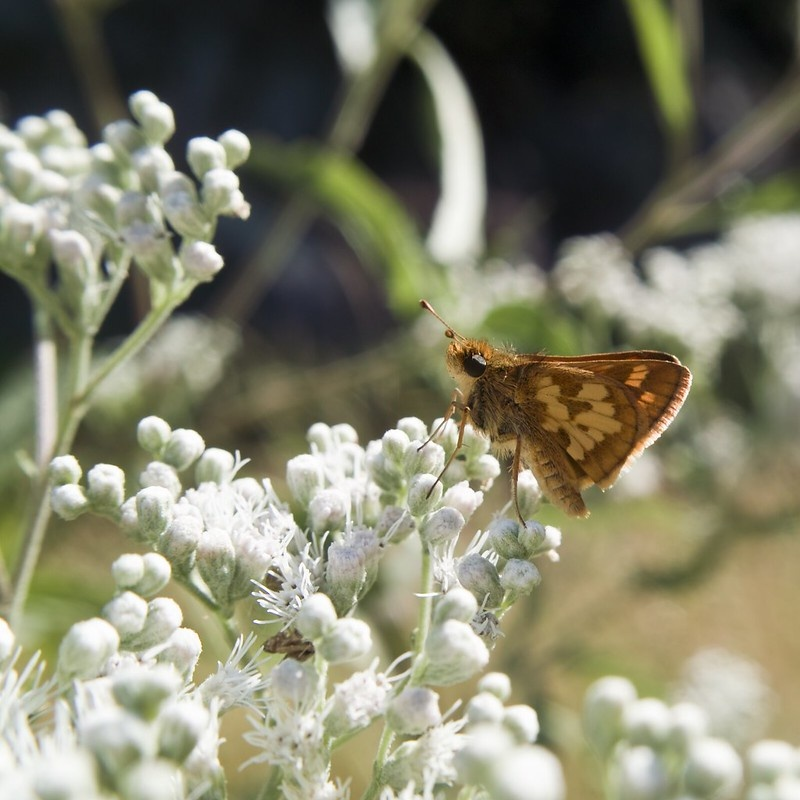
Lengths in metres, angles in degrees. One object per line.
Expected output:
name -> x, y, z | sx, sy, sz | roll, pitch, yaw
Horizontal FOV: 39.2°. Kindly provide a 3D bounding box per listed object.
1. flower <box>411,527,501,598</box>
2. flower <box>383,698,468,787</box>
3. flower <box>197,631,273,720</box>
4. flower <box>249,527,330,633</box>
flower -> 0.135, 0.360, 2.431 | 0.154, 0.090, 0.157 | 11, -32, -2
flower -> 0.050, 0.694, 2.191 | 0.097, 0.140, 0.181 | 14, -22, -23
flower -> -0.304, 0.551, 2.275 | 0.150, 0.149, 0.083 | -19, 2, 29
flower -> -0.213, 0.363, 2.344 | 0.120, 0.199, 0.184 | 27, -42, -9
